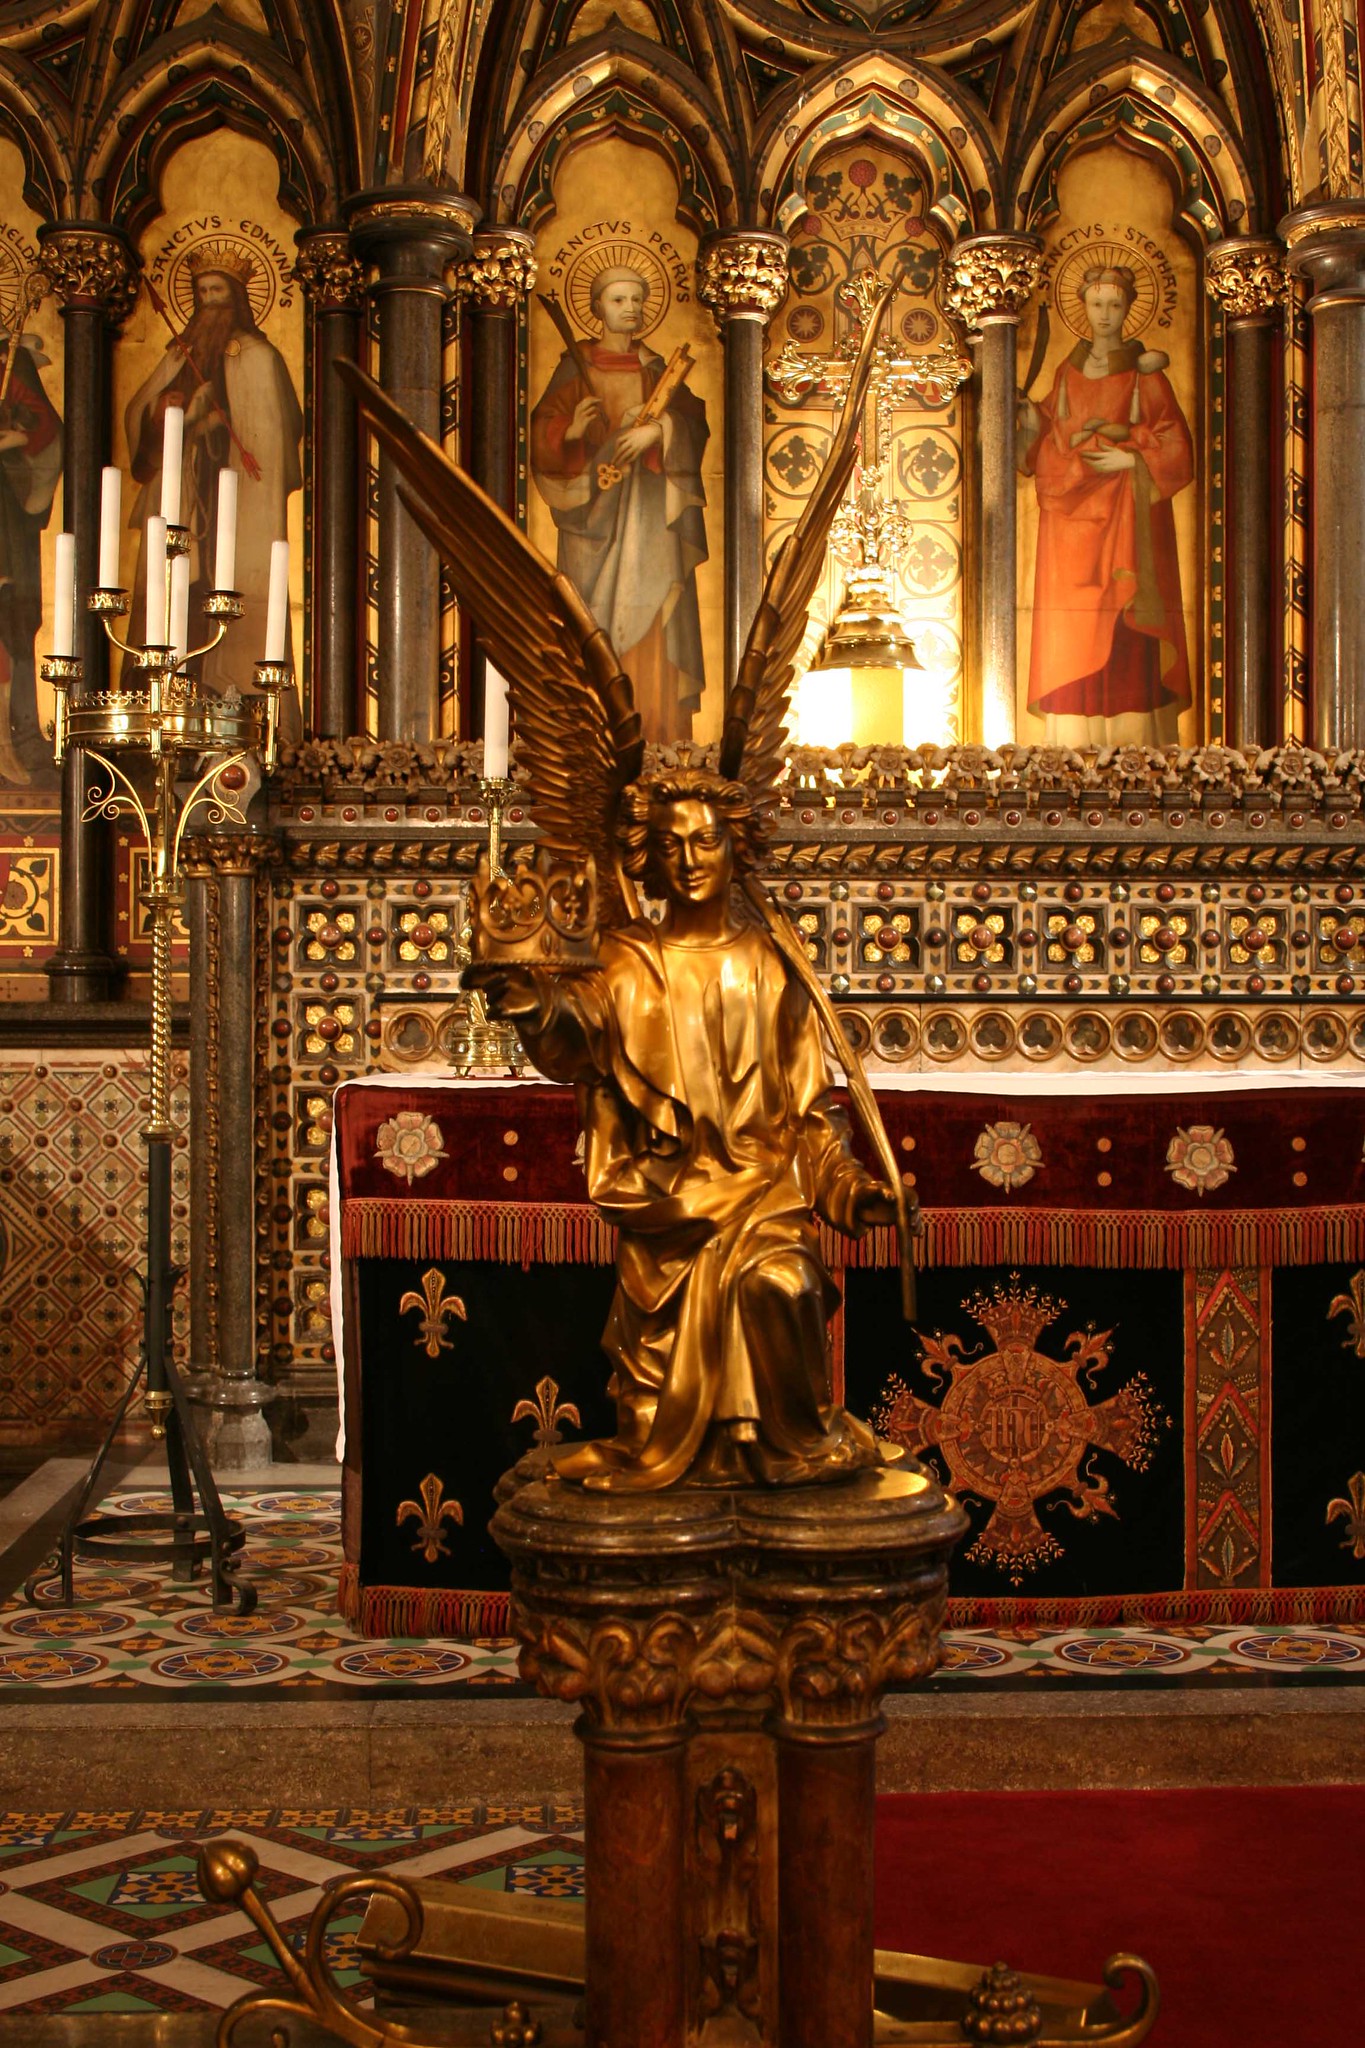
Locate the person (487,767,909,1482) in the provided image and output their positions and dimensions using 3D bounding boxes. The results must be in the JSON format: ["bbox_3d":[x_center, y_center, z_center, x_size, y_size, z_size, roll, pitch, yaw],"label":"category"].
[{"bbox_3d":[0.001,0.132,3.815,0.497,0.837,0.308,0,-2,1],"label":"person"}]
